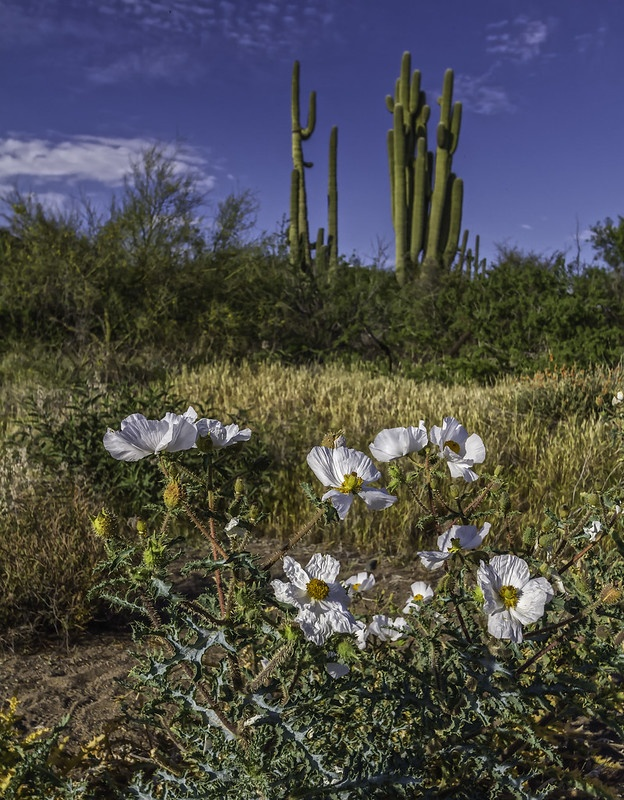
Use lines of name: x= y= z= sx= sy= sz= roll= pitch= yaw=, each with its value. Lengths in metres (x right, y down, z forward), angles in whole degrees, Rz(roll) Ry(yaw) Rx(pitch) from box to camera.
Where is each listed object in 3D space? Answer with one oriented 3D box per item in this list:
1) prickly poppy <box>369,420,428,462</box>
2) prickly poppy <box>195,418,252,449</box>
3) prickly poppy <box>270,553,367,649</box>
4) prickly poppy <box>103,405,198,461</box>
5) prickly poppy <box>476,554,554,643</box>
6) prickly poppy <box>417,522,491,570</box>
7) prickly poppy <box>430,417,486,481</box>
prickly poppy: x=0.226 y=0.115 z=1.838 sx=0.125 sy=0.055 sz=0.117 roll=-22 pitch=-5 yaw=-2
prickly poppy: x=-0.232 y=0.080 z=1.701 sx=0.086 sy=0.041 sz=0.093 roll=10 pitch=-3 yaw=30
prickly poppy: x=0.010 y=0.424 z=1.467 sx=0.176 sy=0.181 sz=0.204 roll=0 pitch=12 yaw=-4
prickly poppy: x=-0.361 y=0.084 z=1.576 sx=0.146 sy=0.074 sz=0.134 roll=-9 pitch=5 yaw=-26
prickly poppy: x=0.445 y=0.455 z=1.571 sx=0.139 sy=0.187 sz=0.181 roll=12 pitch=17 yaw=44
prickly poppy: x=0.341 y=0.373 z=1.731 sx=0.148 sy=0.048 sz=0.153 roll=-27 pitch=8 yaw=27
prickly poppy: x=0.422 y=0.105 z=2.003 sx=0.127 sy=0.061 sz=0.115 roll=36 pitch=-22 yaw=-33
